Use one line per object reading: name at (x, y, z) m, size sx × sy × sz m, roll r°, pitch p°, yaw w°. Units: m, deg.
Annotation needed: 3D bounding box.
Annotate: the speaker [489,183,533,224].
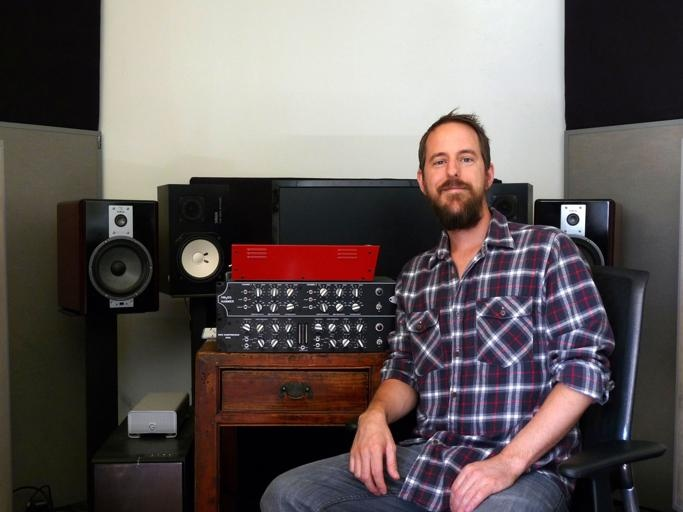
speaker at (0.742, -0.244, 2.643) m, size 0.216 × 0.234 × 0.165 m, roll 4°, pitch 4°, yaw 5°
